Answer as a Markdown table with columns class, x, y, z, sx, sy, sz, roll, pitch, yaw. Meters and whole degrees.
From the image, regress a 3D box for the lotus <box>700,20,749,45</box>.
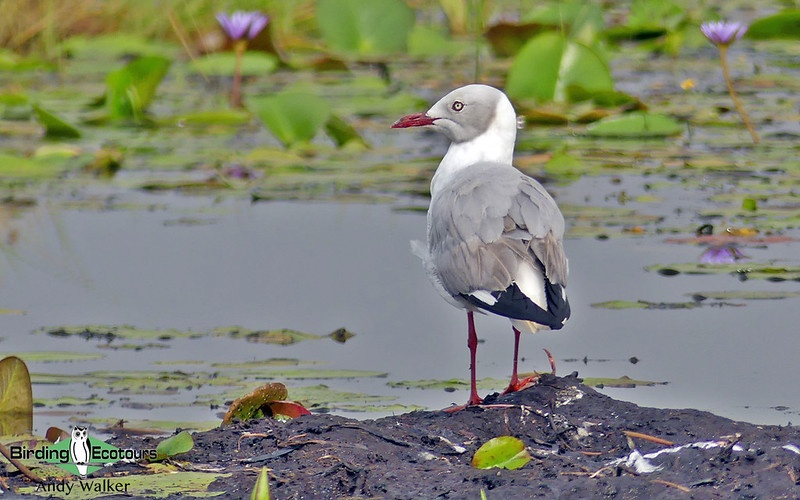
| class | x | y | z | sx | sy | sz | roll | pitch | yaw |
| --- | --- | --- | --- | --- | --- | --- | --- | --- | --- |
| lotus | 2.974 | -1.963 | 10.043 | 0.433 | 0.187 | 0.390 | -2 | 12 | -19 |

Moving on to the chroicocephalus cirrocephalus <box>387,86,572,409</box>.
| class | x | y | z | sx | sy | sz | roll | pitch | yaw |
| --- | --- | --- | --- | --- | --- | --- | --- | --- | --- |
| chroicocephalus cirrocephalus | 0.788 | -0.061 | 8.200 | 1.134 | 2.135 | 1.891 | -10 | 20 | -14 |
